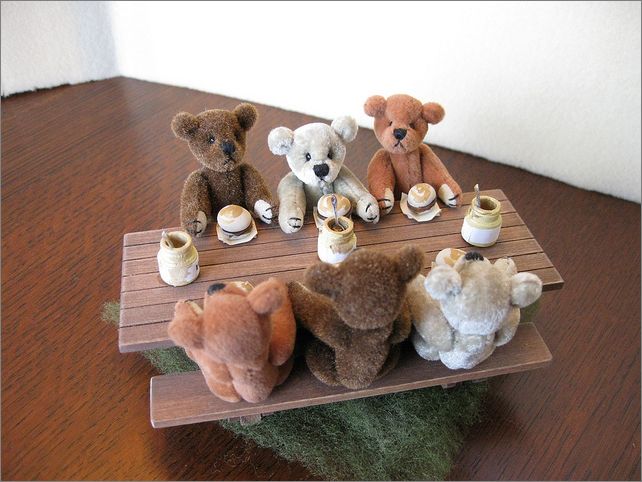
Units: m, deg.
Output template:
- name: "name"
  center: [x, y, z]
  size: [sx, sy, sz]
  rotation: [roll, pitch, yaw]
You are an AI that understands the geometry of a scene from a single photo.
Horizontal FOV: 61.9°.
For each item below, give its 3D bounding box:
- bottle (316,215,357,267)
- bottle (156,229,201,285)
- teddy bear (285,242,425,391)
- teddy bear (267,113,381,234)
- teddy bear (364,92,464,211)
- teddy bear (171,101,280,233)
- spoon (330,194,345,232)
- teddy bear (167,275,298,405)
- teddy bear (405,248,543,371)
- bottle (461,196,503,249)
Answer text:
- name: "bottle"
  center: [0.072, 0.006, 2.563]
  size: [0.184, 0.200, 0.200]
  rotation: [8, 35, 5]
- name: "bottle"
  center: [-0.673, 0.078, 2.515]
  size: [0.164, 0.213, 0.193]
  rotation: [6, 40, -2]
- name: "teddy bear"
  center: [0.157, 0.279, 2.333]
  size: [0.509, 0.813, 0.500]
  rotation: [-11, 43, -15]
- name: "teddy bear"
  center: [0.003, -0.340, 2.760]
  size: [0.512, 0.549, 0.455]
  rotation: [-9, 38, -6]
- name: "teddy bear"
  center: [0.448, -0.430, 2.871]
  size: [0.471, 0.688, 0.509]
  rotation: [-13, 28, -5]
- name: "teddy bear"
  center: [-0.494, -0.361, 2.767]
  size: [0.482, 0.668, 0.442]
  rotation: [-9, 43, -16]
- name: "spoon"
  center: [0.067, -0.127, 2.505]
  size: [0.032, 0.026, 0.182]
  rotation: [-1, 83, -7]
- name: "teddy bear"
  center: [-0.348, 0.414, 2.146]
  size: [0.314, 0.458, 0.310]
  rotation: [-10, 52, -10]
- name: "teddy bear"
  center: [0.644, 0.255, 2.390]
  size: [0.492, 0.714, 0.553]
  rotation: [-4, 56, 0]
- name: "bottle"
  center: [0.801, -0.095, 2.670]
  size: [0.176, 0.205, 0.175]
  rotation: [-1, 38, -3]
